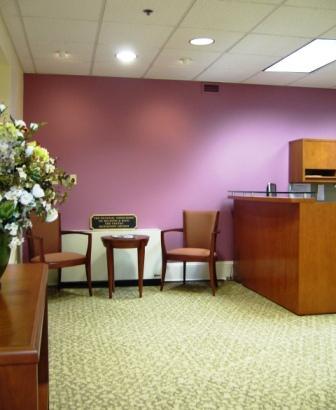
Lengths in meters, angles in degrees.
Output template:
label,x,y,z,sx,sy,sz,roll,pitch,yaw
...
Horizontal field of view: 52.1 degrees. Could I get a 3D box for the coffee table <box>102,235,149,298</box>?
label,x,y,z,sx,sy,sz,roll,pitch,yaw
coffee table,-0.543,0.798,4.600,0.782,0.821,0.746,-1,-4,-7

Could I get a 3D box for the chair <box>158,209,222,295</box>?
label,x,y,z,sx,sy,sz,roll,pitch,yaw
chair,0.316,0.636,4.865,0.811,1.099,0.877,0,0,6
